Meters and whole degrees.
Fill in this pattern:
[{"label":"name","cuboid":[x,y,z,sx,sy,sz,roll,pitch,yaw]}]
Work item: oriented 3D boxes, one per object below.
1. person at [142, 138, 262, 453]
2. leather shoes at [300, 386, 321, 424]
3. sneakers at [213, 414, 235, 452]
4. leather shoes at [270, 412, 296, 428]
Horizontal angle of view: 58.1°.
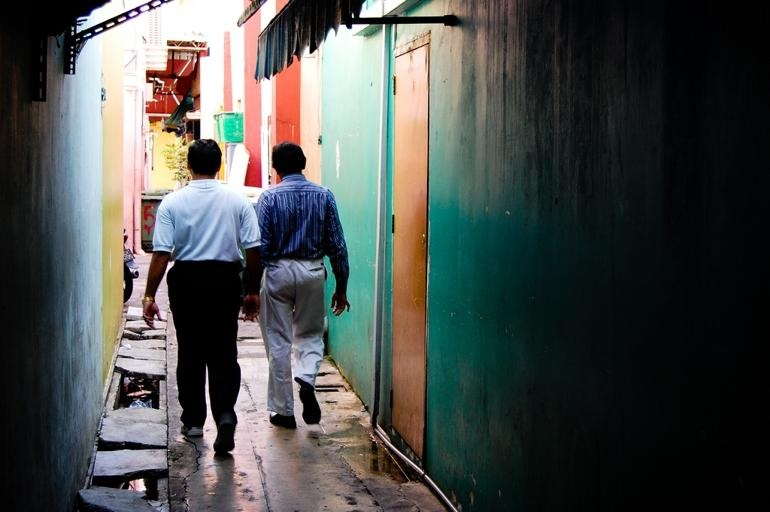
[{"label":"person","cuboid":[-1.477,0.316,5.650,0.914,2.517,0.551,1,3,-11]},{"label":"leather shoes","cuboid":[-0.675,1.339,6.235,0.129,0.431,0.154,-3,2,-1]},{"label":"sneakers","cuboid":[-1.281,1.428,5.547,0.162,0.331,0.164,1,3,-18]},{"label":"leather shoes","cuboid":[-0.934,1.508,6.353,0.099,0.137,0.283,-2,7,-39]}]
